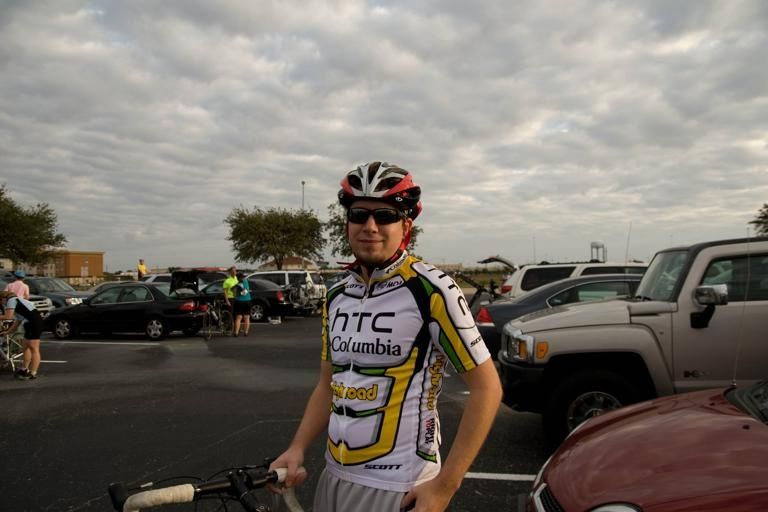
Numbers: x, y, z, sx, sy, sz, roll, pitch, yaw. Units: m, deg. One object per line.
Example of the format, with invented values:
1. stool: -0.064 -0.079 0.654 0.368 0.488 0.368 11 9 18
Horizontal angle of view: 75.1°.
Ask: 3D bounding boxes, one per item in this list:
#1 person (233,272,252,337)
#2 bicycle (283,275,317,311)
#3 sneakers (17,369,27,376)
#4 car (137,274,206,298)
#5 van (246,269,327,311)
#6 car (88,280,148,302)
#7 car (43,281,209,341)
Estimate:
1. person: -4.621 1.672 16.238 0.487 1.466 1.167 -1 0 -17
2. bicycle: -3.575 1.658 21.449 1.015 0.927 1.721 0 4 6
3. sneakers: -7.241 2.353 10.026 0.321 0.166 0.097 -1 0 33
4. car: -7.374 1.092 17.664 1.860 0.698 0.847 -1 3 -2
5. van: -4.670 1.551 22.016 3.841 1.530 1.743 4 1 17
6. car: -9.259 1.268 17.514 2.056 0.732 0.938 0 3 -1
7. car: -8.089 1.960 16.522 4.604 1.471 2.057 1 -3 9
